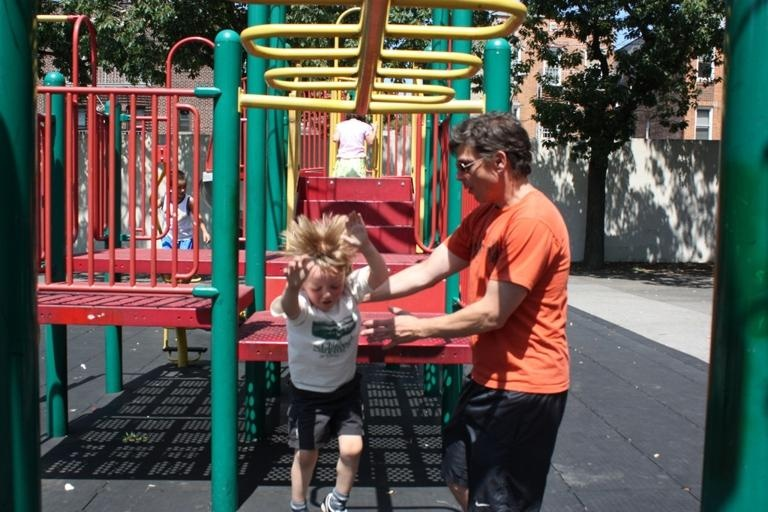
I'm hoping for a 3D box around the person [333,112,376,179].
[{"bbox_3d":[-0.420,-1.348,9.281,0.368,1.096,0.309,14,41,4],"label":"person"}]

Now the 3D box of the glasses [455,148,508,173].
[{"bbox_3d":[0.462,-0.436,3.289,0.242,0.125,0.054,2,8,17],"label":"glasses"}]
